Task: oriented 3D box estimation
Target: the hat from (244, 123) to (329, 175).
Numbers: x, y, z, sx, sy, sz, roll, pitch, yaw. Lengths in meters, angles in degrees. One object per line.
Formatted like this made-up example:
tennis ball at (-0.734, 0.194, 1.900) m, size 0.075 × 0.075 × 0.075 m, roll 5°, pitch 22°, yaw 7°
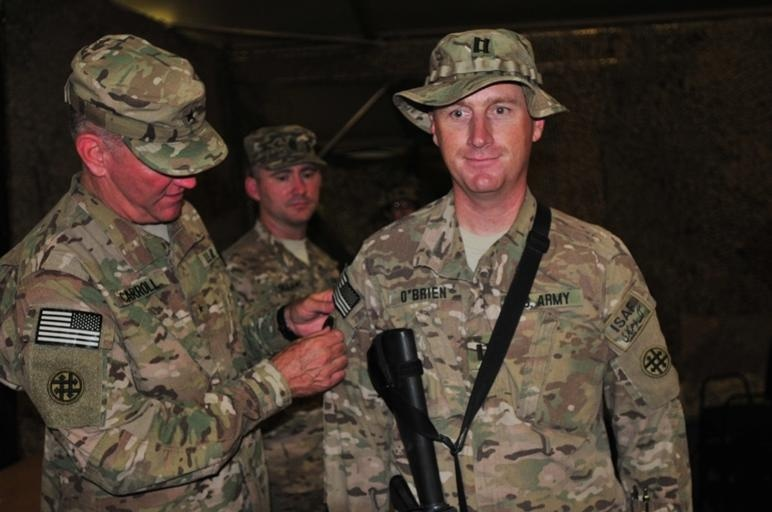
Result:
hat at (-0.624, -0.692, 6.606) m, size 0.433 × 0.241 × 0.517 m, roll -6°, pitch 12°, yaw -24°

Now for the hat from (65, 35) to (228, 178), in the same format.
hat at (-1.180, -0.732, 5.201) m, size 0.600 × 0.644 × 0.308 m, roll -1°, pitch 16°, yaw 13°

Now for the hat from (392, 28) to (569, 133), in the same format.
hat at (0.420, -0.896, 5.035) m, size 0.618 × 0.287 × 0.601 m, roll -14°, pitch 11°, yaw -42°
